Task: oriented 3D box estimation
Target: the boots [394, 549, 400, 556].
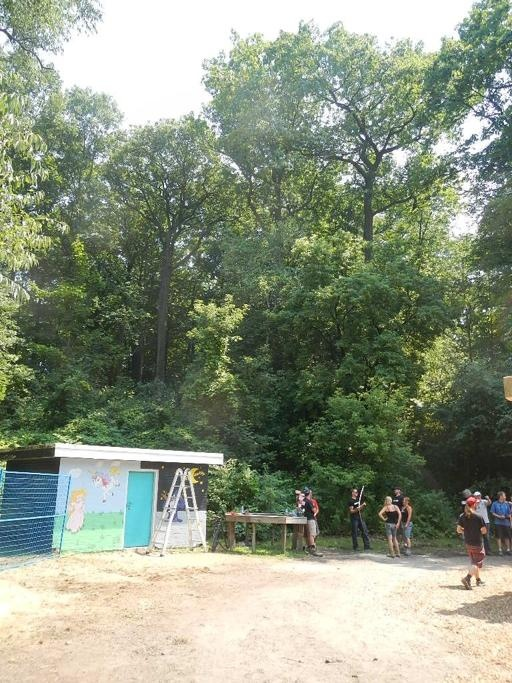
[{"bbox_3d":[3.561,5.299,14.669,0.130,0.159,0.603,-4,-17,11],"label":"boots"}]
